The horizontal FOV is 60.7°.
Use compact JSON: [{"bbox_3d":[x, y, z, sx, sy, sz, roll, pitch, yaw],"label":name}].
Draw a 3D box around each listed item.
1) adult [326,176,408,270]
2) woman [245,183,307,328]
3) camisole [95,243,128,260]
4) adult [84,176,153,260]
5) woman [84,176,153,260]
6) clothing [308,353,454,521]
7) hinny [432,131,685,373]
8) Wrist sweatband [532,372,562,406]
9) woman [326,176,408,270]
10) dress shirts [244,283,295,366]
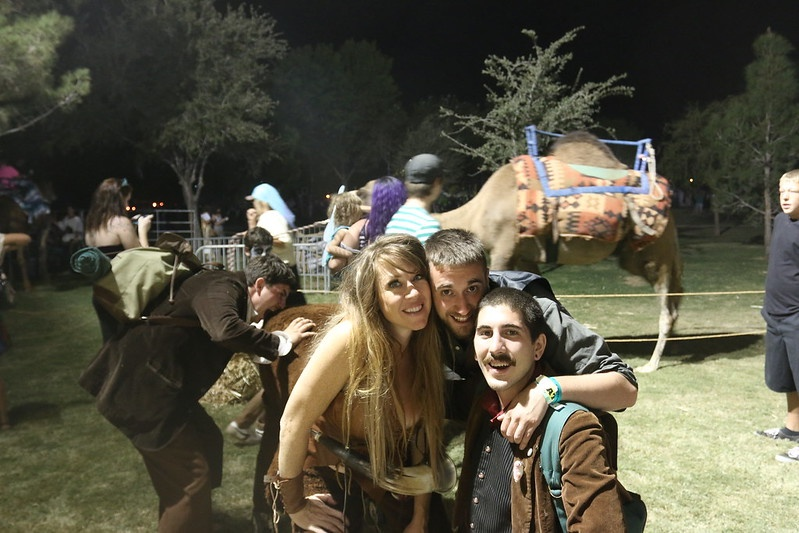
[{"bbox_3d":[-0.389,-0.491,8.120,0.537,0.521,1.485,19,-34,-28],"label":"adult"},{"bbox_3d":[-1.796,-0.076,9.850,0.958,2.073,0.795,9,16,29],"label":"woman"},{"bbox_3d":[-2.959,-0.145,7.020,0.220,0.193,0.118,0,-9,-7],"label":"camisole"},{"bbox_3d":[-3.189,-0.535,7.592,0.550,0.879,0.323,-4,5,-25],"label":"adult"},{"bbox_3d":[-3.189,-0.535,7.592,0.550,0.879,0.323,-4,5,-25],"label":"woman"},{"bbox_3d":[-0.088,1.595,6.376,1.148,1.406,0.505,3,4,0],"label":"clothing"},{"bbox_3d":[1.757,-0.210,9.338,4.494,3.232,1.133,1,4,-14],"label":"hinny"},{"bbox_3d":[1.210,1.021,5.639,0.184,0.230,0.090,-28,-13,-11],"label":"Wrist sweatband"},{"bbox_3d":[-0.389,-0.491,8.120,0.537,0.521,1.485,19,-34,-28],"label":"woman"},{"bbox_3d":[-1.269,0.616,6.482,0.475,0.267,0.613,18,31,-28],"label":"dress shirts"}]
